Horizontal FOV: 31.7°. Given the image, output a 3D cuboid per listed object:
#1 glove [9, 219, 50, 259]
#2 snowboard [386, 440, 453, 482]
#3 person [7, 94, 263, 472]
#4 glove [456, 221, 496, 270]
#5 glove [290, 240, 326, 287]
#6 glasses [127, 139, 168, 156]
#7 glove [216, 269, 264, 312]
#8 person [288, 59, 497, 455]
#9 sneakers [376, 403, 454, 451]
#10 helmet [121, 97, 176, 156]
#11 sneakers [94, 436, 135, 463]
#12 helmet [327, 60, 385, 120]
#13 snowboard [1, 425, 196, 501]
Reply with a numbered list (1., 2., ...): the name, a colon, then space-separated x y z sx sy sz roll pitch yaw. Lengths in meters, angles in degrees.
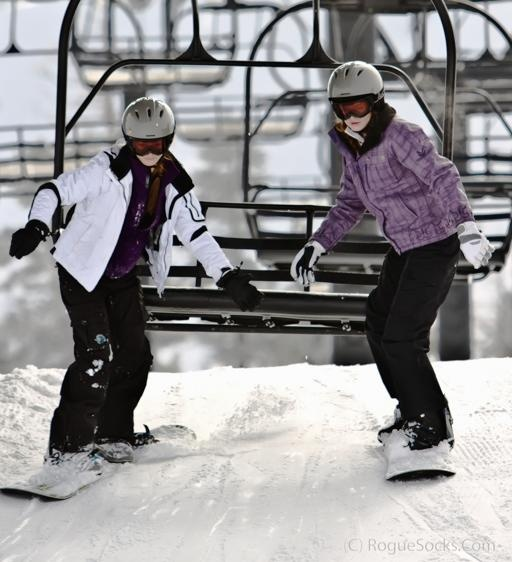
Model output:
1. glove: -1.017 -0.192 4.036 0.083 0.125 0.209 -9 35 53
2. snowboard: 0.754 0.806 4.161 0.310 0.131 0.305 -2 7 6
3. person: -0.637 0.011 4.373 1.050 1.743 0.605 -5 7 -17
4. glove: 0.999 -0.166 4.093 0.158 0.224 0.240 -1 7 15
5. glove: 0.275 -0.109 4.740 0.211 0.203 0.098 13 20 0
6. glasses: -0.498 -0.622 4.202 0.101 0.055 0.118 -2 -6 -5
7. glove: -0.068 0.043 4.310 0.173 0.214 0.059 -40 1 -16
8. person: 0.667 -0.118 4.325 0.530 1.838 0.961 -8 8 -34
9. sneakers: 0.783 0.700 4.428 0.345 0.204 0.196 -2 -2 -10
10. helmet: -0.514 -0.738 4.316 0.252 0.264 0.304 -5 10 -14
11. sneakers: -0.689 0.828 4.459 0.192 0.079 0.082 19 3 -14
12. helmet: 0.475 -0.891 4.279 0.263 0.290 0.327 8 4 18
13. snowboard: -0.707 0.883 4.521 0.287 0.158 1.146 18 3 22
